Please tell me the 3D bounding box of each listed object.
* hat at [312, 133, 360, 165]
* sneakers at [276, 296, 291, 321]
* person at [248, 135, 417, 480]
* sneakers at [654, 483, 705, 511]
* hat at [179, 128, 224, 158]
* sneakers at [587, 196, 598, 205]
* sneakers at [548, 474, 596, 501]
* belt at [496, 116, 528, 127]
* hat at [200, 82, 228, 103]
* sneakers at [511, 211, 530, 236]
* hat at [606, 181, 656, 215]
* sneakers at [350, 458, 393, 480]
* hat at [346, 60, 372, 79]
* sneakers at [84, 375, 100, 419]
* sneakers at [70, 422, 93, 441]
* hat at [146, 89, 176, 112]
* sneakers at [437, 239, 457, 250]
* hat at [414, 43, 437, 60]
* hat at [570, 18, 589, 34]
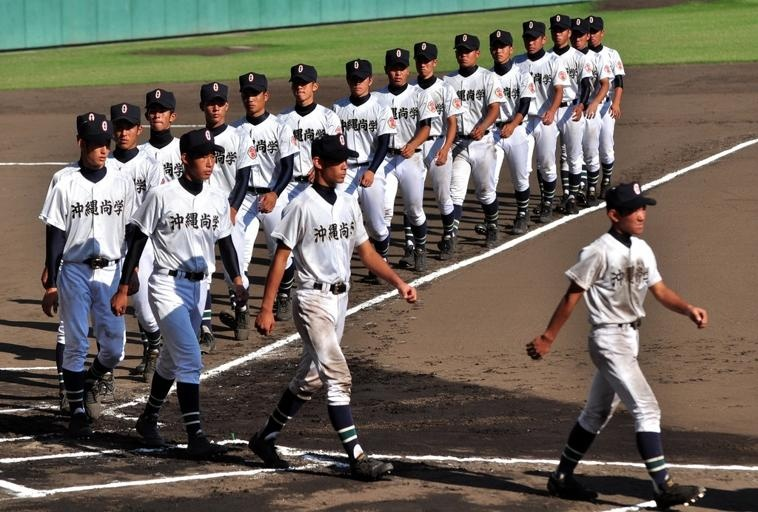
[{"bbox_3d":[-0.480,-1.207,14.809,0.469,0.200,0.303,6,14,15],"label":"hat"},{"bbox_3d":[-1.377,0.772,19.084,0.166,0.403,0.180,-2,-27,-3],"label":"sneakers"},{"bbox_3d":[-0.570,0.529,14.716,1.226,3.711,1.659,6,14,41],"label":"person"},{"bbox_3d":[3.208,2.556,14.059,0.613,0.252,0.225,-19,2,9],"label":"sneakers"},{"bbox_3d":[-2.041,-1.310,15.161,0.491,0.226,0.352,-2,5,33],"label":"hat"},{"bbox_3d":[3.789,-0.947,22.919,0.217,0.116,0.167,6,41,-12],"label":"sneakers"},{"bbox_3d":[2.189,2.533,14.248,0.657,0.227,0.216,3,11,10],"label":"sneakers"},{"bbox_3d":[2.125,-2.188,21.397,0.319,0.101,0.222,-9,-3,-1],"label":"belt"},{"bbox_3d":[-2.269,-2.257,18.078,0.353,0.273,0.364,-4,10,-10],"label":"hat"},{"bbox_3d":[2.373,-0.532,21.681,0.190,0.196,0.512,5,16,16],"label":"sneakers"},{"bbox_3d":[2.770,-0.635,14.444,0.363,0.213,0.512,-15,16,-43],"label":"hat"},{"bbox_3d":[-0.090,2.366,14.486,0.507,0.189,0.201,-3,6,15],"label":"sneakers"},{"bbox_3d":[-0.279,-2.783,19.536,0.345,0.287,0.290,-4,10,-6],"label":"hat"},{"bbox_3d":[-3.494,1.744,16.048,0.192,0.460,0.221,-13,14,-20],"label":"sneakers"},{"bbox_3d":[-3.504,2.079,15.423,0.291,0.227,0.162,10,4,11],"label":"sneakers"},{"bbox_3d":[-2.885,-2.085,17.382,0.334,0.200,0.405,1,-7,10],"label":"hat"},{"bbox_3d":[1.103,-0.178,20.791,0.194,0.199,0.493,0,1,7],"label":"sneakers"},{"bbox_3d":[0.700,-3.150,20.156,0.281,0.302,0.347,-2,16,18],"label":"hat"},{"bbox_3d":[3.530,-3.984,22.708,0.271,0.310,0.130,3,14,30],"label":"hat"}]
